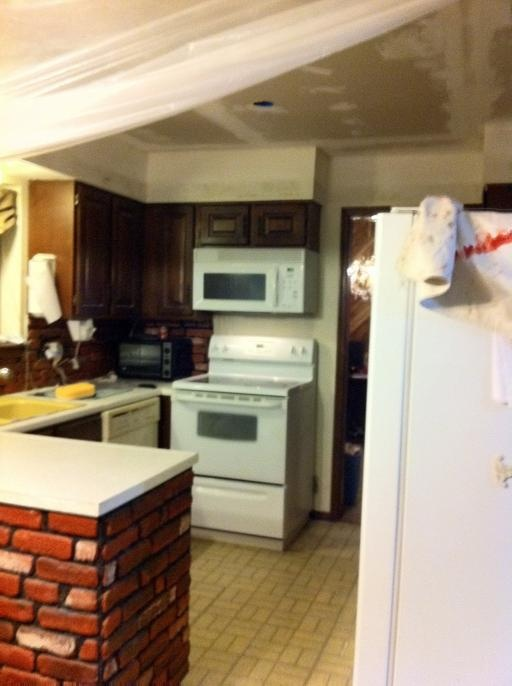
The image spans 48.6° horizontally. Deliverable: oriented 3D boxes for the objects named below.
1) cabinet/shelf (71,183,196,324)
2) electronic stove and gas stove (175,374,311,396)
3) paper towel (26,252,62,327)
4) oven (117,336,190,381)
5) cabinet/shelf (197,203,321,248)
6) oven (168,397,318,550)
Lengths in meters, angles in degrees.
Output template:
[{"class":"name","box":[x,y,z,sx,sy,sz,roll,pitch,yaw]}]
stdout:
[{"class":"cabinet/shelf","box":[-0.982,-0.538,3.751,0.731,0.923,1.020,2,4,28]},{"class":"electronic stove and gas stove","box":[-0.073,0.268,3.666,0.771,0.090,0.619,3,1,17]},{"class":"paper towel","box":[-1.228,-0.312,3.224,0.193,0.385,0.233,2,2,-43]},{"class":"oven","box":[-0.738,0.120,4.030,0.451,0.262,0.268,1,-2,16]},{"class":"cabinet/shelf","box":[0.017,-0.789,3.791,0.835,0.284,0.276,5,13,26]},{"class":"oven","box":[-0.027,0.749,3.741,0.900,0.909,0.884,0,-4,5]}]
